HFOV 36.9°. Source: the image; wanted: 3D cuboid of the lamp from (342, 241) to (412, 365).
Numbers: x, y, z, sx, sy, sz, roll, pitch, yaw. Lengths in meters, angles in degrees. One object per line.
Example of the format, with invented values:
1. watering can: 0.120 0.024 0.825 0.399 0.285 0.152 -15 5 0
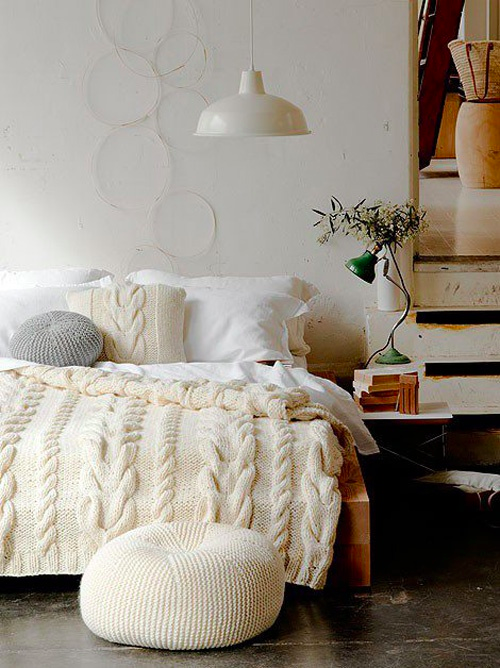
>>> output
1. lamp: 0.620 -0.121 3.576 0.287 0.602 0.711 0 6 12

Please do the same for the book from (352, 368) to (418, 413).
1. book: 0.514 0.210 2.858 0.212 0.108 0.186 -1 2 -5

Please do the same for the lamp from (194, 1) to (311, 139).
1. lamp: 0.008 -0.805 2.607 0.387 0.253 0.194 -1 7 2

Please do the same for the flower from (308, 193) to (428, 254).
1. flower: 0.617 -0.557 3.730 0.333 0.202 0.515 21 19 22
